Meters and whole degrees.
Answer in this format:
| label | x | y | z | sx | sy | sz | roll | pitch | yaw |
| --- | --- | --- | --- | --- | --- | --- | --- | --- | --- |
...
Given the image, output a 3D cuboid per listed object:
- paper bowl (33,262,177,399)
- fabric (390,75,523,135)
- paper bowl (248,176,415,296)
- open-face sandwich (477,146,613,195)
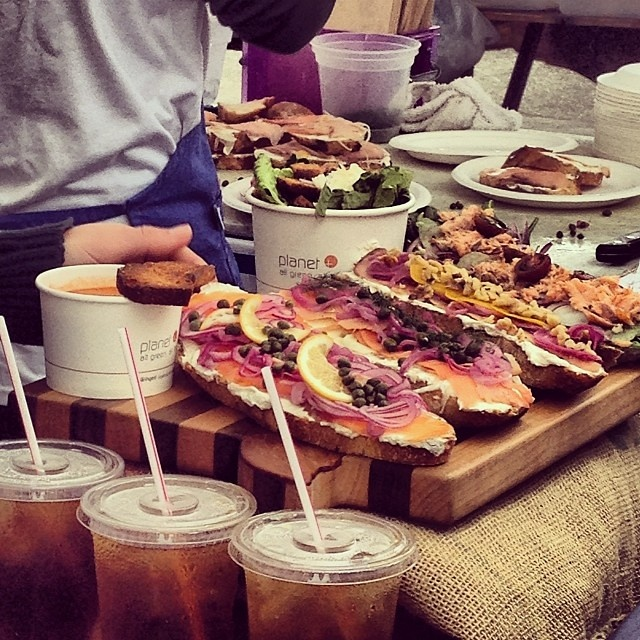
| label | x | y | z | sx | sy | sz | roll | pitch | yaw |
| --- | --- | --- | --- | --- | --- | --- | --- | --- | --- |
| paper bowl | -0.319 | 0.009 | 1.107 | 0.270 | 0.129 | 0.238 | 0 | 8 | -14 |
| fabric | 0.579 | -0.871 | 2.981 | 0.458 | 0.129 | 0.443 | 0 | 10 | 0 |
| paper bowl | 0.049 | -0.155 | 1.376 | 0.318 | 0.150 | 0.233 | 3 | 13 | 8 |
| open-face sandwich | 0.682 | -0.436 | 2.136 | 0.285 | 0.063 | 0.271 | 13 | 20 | 35 |
